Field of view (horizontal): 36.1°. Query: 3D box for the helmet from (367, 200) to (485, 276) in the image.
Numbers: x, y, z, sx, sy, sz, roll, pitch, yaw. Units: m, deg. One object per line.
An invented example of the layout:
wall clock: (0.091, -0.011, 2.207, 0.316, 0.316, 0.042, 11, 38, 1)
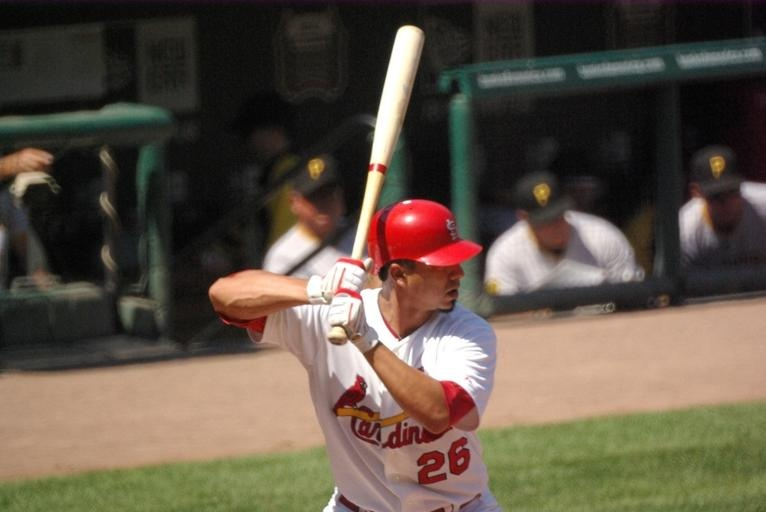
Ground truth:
helmet: (0.218, -0.099, 6.746, 0.525, 0.300, 0.394, 1, 16, 22)

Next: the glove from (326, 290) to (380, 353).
glove: (-0.171, 0.356, 6.448, 0.208, 0.145, 0.372, 13, 40, -22)

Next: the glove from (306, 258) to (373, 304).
glove: (-0.251, 0.122, 6.572, 0.211, 0.341, 0.137, 38, 13, 24)
